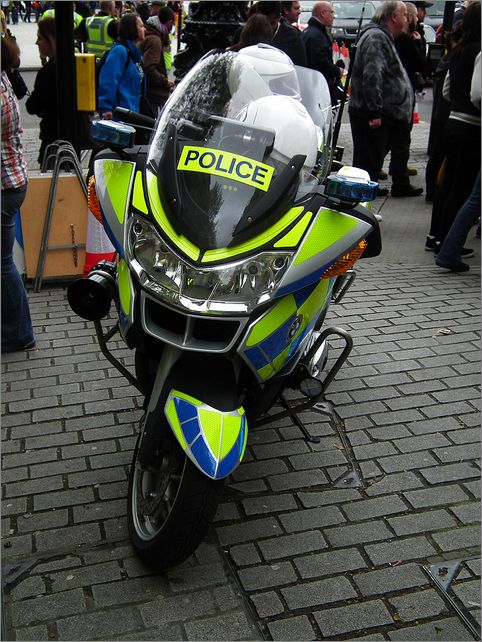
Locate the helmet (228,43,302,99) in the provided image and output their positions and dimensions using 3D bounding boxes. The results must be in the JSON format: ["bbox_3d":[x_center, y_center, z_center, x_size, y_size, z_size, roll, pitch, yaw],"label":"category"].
[{"bbox_3d":[0.116,-1.123,2.274,0.288,0.255,0.218,17,51,31],"label":"helmet"}]

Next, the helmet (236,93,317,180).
[{"bbox_3d":[0.164,-0.685,1.954,0.279,0.370,0.369,2,36,3],"label":"helmet"}]

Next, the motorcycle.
[{"bbox_3d":[0.014,-0.139,2.001,1.095,1.964,0.982,-7,16,-38],"label":"motorcycle"}]
